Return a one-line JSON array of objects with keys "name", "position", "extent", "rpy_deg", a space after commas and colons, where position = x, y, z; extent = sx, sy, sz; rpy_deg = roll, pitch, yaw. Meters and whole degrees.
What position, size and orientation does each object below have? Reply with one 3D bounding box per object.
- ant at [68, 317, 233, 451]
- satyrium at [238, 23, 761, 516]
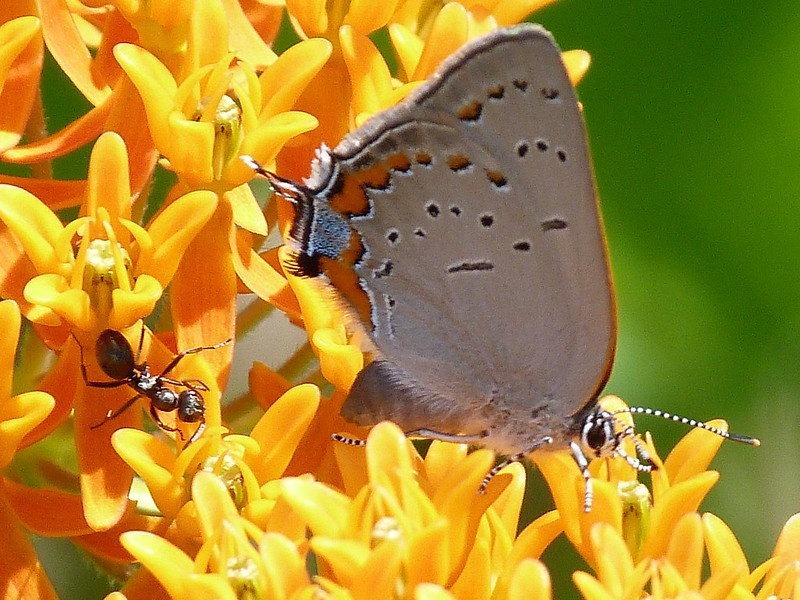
[{"name": "ant", "position": [-0.221, 0.077, 1.004], "extent": [0.126, 0.036, 0.115], "rpy_deg": [-20, 25, 38]}, {"name": "satyrium", "position": [0.114, -0.021, 1.229], "extent": [0.492, 0.428, 0.609], "rpy_deg": [13, 2, 7]}]
